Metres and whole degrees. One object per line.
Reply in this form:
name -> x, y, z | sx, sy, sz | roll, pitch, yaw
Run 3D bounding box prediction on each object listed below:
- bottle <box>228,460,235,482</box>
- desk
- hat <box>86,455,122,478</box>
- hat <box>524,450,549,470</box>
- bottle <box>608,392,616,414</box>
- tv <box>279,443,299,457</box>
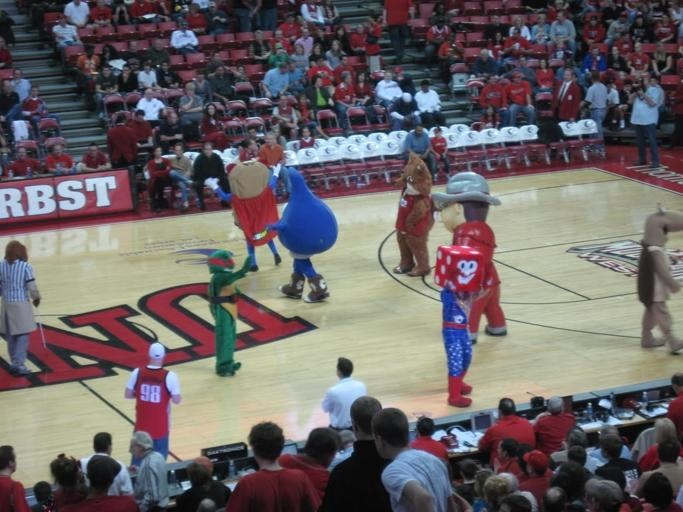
bottle -> -1.259, 2.459, 12.954 | 0.095, 0.175, 0.252 | -5, 4, -7
desk -> 2.612, 2.107, 13.940 | 2.813, 0.531, 1.036 | -3, 4, -7
hat -> -2.484, 2.171, 11.836 | 0.330, 0.254, 0.221 | -7, 16, -17
hat -> 2.132, 2.239, 12.428 | 0.189, 0.132, 0.268 | -24, 36, -29
bottle -> 3.419, 1.854, 14.271 | 0.066, 0.202, 0.162 | -2, -16, 17
tv -> -0.609, 2.245, 13.254 | 0.172, 0.147, 0.347 | -4, 4, 0
